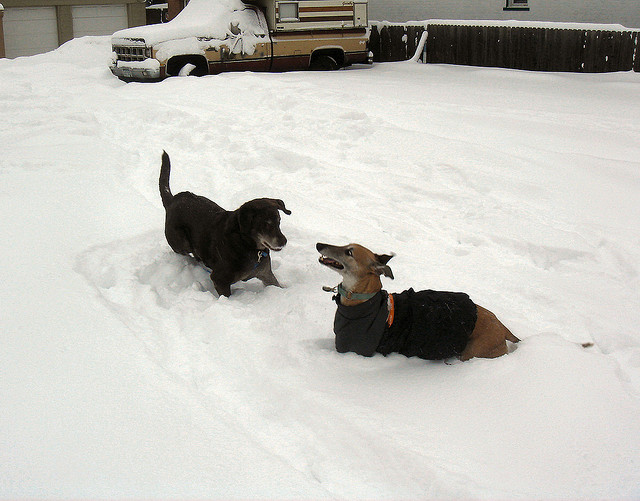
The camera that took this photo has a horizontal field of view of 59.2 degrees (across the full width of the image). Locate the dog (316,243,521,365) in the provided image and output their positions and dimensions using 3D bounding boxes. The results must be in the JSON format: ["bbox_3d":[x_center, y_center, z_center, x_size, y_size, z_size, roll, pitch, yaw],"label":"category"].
[{"bbox_3d":[0.889,0.558,5.070,2.075,0.974,0.640,9,11,-11],"label":"dog"}]

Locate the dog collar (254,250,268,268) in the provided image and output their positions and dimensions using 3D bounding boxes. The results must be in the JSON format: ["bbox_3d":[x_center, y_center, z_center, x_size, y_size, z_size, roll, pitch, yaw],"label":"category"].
[{"bbox_3d":[-0.613,0.089,5.921,0.105,0.163,0.067,16,-18,17],"label":"dog collar"}]
